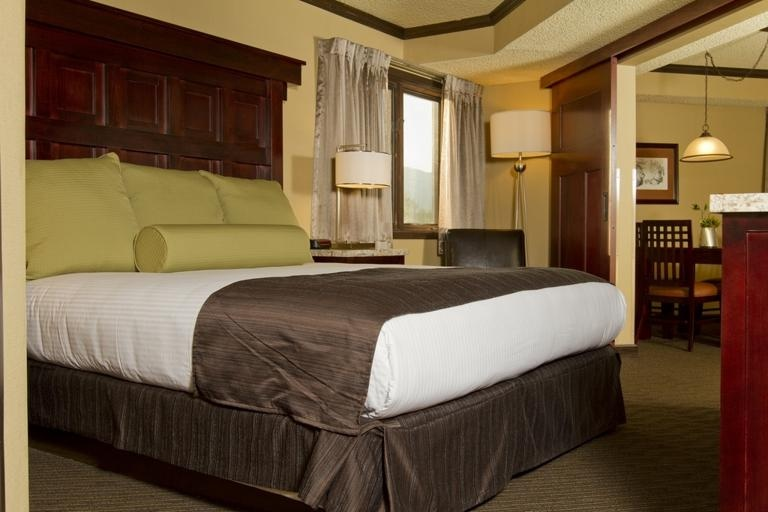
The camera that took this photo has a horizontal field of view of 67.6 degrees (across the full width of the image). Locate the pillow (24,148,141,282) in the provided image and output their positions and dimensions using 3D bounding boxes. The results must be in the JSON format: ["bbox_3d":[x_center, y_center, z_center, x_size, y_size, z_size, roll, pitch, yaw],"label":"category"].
[{"bbox_3d":[-1.557,-0.196,2.877,0.146,0.594,0.627,-20,-10,39],"label":"pillow"}]

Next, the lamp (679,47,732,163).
[{"bbox_3d":[3.530,-1.612,6.253,0.435,1.171,1.340,2,6,28],"label":"lamp"}]
